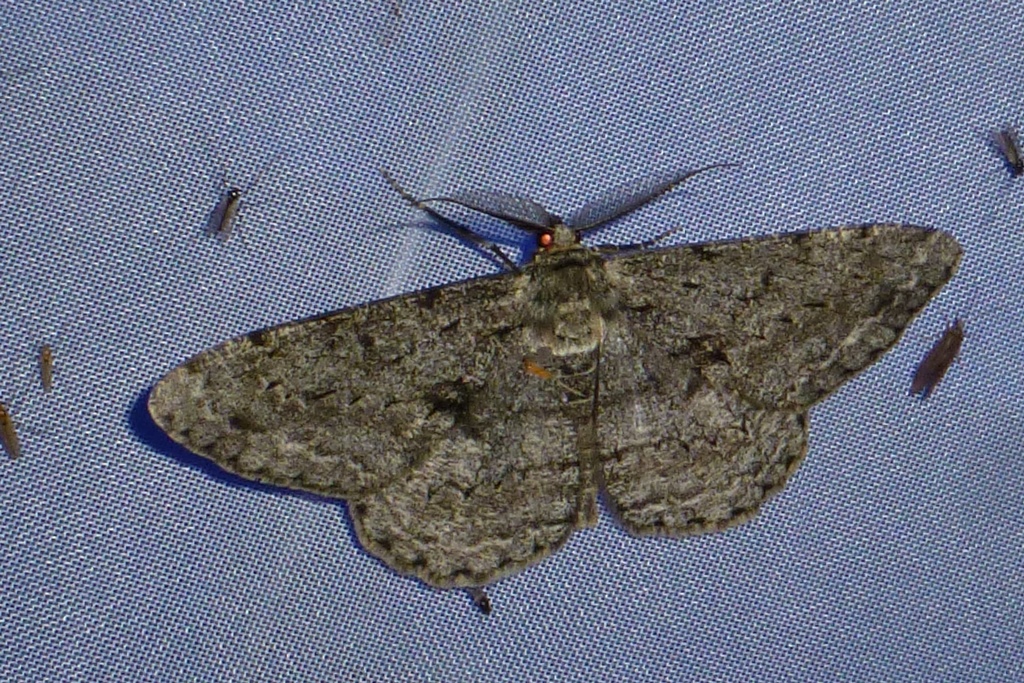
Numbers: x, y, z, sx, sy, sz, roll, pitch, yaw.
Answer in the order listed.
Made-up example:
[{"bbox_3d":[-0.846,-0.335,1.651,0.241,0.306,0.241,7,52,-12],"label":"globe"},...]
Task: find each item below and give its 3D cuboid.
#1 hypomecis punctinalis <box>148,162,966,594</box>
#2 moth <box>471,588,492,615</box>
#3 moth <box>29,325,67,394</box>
[{"bbox_3d":[0.226,0.159,7.530,4.138,0.749,1.774,-15,108,-23],"label":"hypomecis punctinalis"},{"bbox_3d":[-0.154,1.261,7.659,0.109,0.039,0.141,-19,104,1],"label":"moth"},{"bbox_3d":[-2.228,0.094,7.548,0.093,0.079,0.249,2,93,-4],"label":"moth"}]
